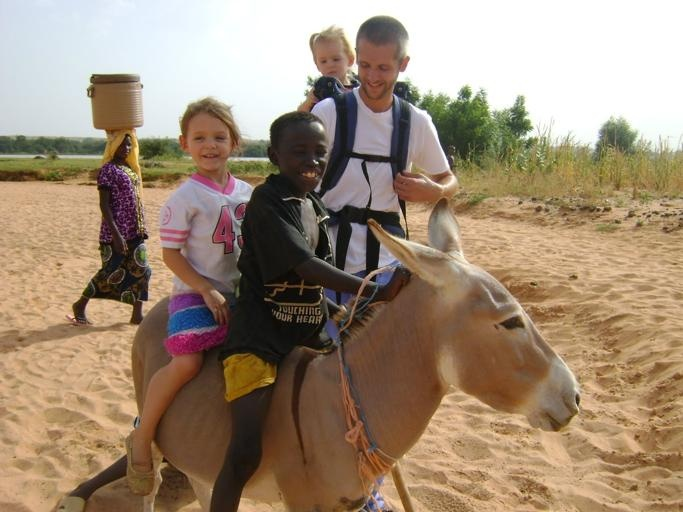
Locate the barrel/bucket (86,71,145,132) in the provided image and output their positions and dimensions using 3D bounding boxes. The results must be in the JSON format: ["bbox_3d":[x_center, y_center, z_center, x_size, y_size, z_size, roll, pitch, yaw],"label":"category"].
[{"bbox_3d":[-3.145,-2.170,8.831,0.680,0.789,0.761,10,23,21],"label":"barrel/bucket"}]

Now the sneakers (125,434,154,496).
[{"bbox_3d":[-1.489,1.615,4.694,0.199,0.122,0.488,12,2,-28],"label":"sneakers"}]
